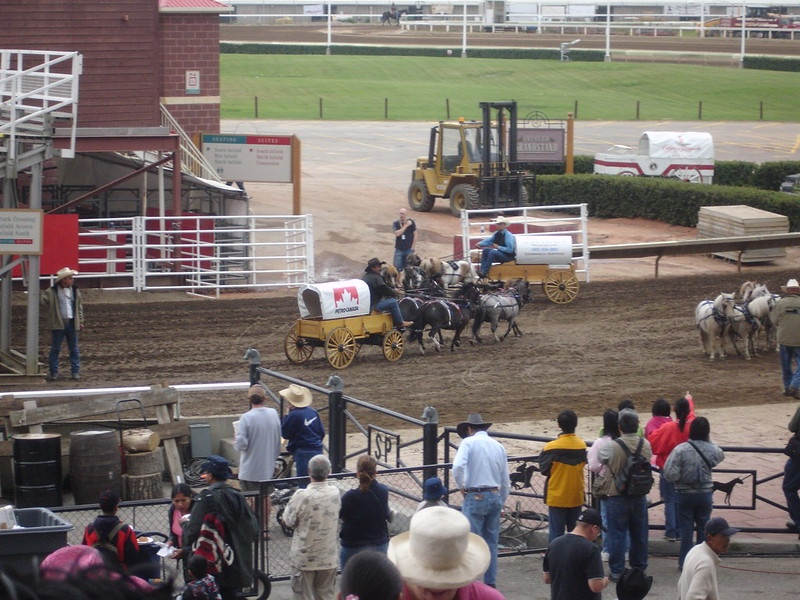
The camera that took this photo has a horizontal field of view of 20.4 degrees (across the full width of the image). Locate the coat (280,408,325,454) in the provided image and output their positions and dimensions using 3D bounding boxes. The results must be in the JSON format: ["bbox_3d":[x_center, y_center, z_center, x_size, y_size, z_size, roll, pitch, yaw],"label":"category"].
[{"bbox_3d":[-2.471,3.136,54.241,1.324,1.220,0.871,-3,9,-15],"label":"coat"}]

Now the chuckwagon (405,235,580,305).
[{"bbox_3d":[3.044,-1.074,66.257,4.214,1.600,1.622,5,5,-8],"label":"chuckwagon"}]

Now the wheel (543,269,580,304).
[{"bbox_3d":[4.713,-0.491,66.228,1.184,0.971,0.232,4,2,-13],"label":"wheel"}]

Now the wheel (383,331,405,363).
[{"bbox_3d":[-0.276,1.199,61.462,0.901,0.772,0.230,-8,17,-42],"label":"wheel"}]

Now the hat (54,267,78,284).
[{"bbox_3d":[-9.227,-0.737,59.861,0.533,0.197,0.576,-17,1,-39],"label":"hat"}]

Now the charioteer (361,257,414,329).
[{"bbox_3d":[-0.484,-0.231,61.494,1.619,1.854,0.918,-1,7,-27],"label":"charioteer"}]

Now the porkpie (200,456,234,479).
[{"bbox_3d":[-4.347,3.874,51.705,0.679,0.305,0.583,19,15,-3],"label":"porkpie"}]

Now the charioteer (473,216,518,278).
[{"bbox_3d":[2.780,-1.647,65.930,1.292,1.667,0.908,4,4,-15],"label":"charioteer"}]

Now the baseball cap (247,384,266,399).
[{"bbox_3d":[-3.534,2.127,53.653,0.310,0.316,0.332,2,-20,-3],"label":"baseball cap"}]

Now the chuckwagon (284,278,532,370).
[{"bbox_3d":[0.279,0.508,62.059,5.885,1.568,1.504,-7,10,-18],"label":"chuckwagon"}]

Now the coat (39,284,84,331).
[{"bbox_3d":[-9.295,0.157,60.201,1.545,1.200,0.833,1,-3,-26],"label":"coat"}]

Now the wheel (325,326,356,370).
[{"bbox_3d":[-1.764,1.240,60.828,0.266,1.155,1.334,1,-2,35],"label":"wheel"}]

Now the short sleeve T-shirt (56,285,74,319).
[{"bbox_3d":[-9.116,0.014,59.746,0.429,0.866,0.168,-2,4,-5],"label":"short sleeve T-shirt"}]

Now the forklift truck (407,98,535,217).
[{"bbox_3d":[2.711,-4.951,76.134,4.465,4.071,3.728,-3,20,-10],"label":"forklift truck"}]
